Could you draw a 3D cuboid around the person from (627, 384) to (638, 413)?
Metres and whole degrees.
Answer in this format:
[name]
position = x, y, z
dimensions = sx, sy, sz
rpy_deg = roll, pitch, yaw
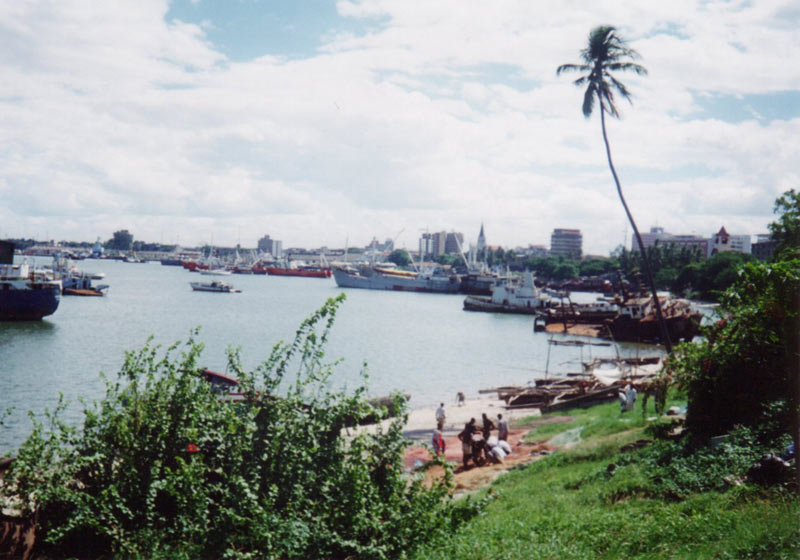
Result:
[person]
position = 9.423, 4.738, 28.055
dimensions = 0.246, 0.857, 1.517
rpy_deg = 0, -1, 17
